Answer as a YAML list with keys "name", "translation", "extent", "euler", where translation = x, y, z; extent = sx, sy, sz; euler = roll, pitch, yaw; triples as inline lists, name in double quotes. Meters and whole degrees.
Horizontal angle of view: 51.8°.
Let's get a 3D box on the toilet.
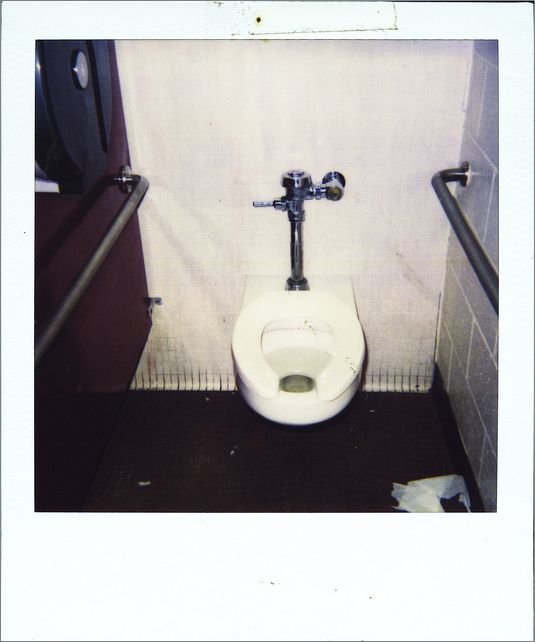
- name: "toilet"
  translation: [0.073, 0.123, 1.297]
  extent: [0.298, 0.224, 0.358]
  euler: [-4, 32, -1]
